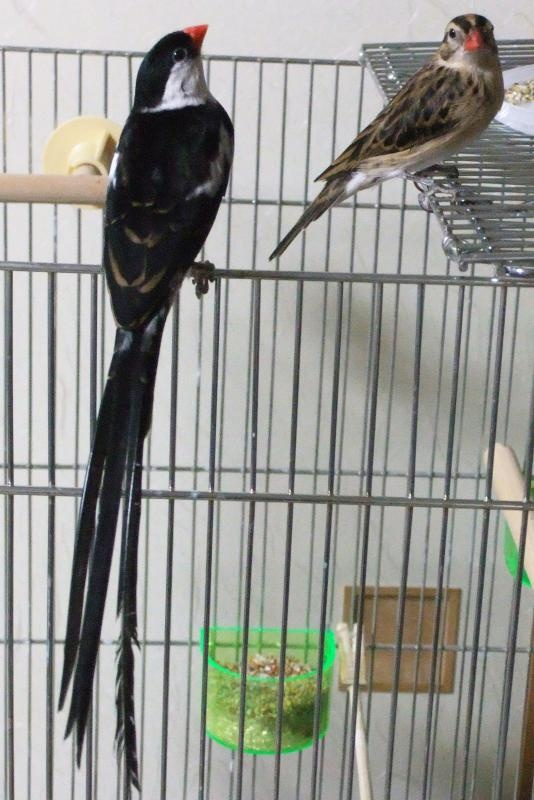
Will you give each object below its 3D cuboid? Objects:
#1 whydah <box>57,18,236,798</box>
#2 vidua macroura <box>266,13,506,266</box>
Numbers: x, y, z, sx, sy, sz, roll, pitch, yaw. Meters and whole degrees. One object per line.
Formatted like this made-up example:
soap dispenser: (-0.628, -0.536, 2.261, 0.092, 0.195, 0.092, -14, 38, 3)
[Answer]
whydah: (-0.130, 0.041, 1.527, 0.185, 0.827, 0.323, 2, 5, -6)
vidua macroura: (0.147, -0.323, 1.657, 0.316, 0.110, 0.189, -11, -64, 26)
